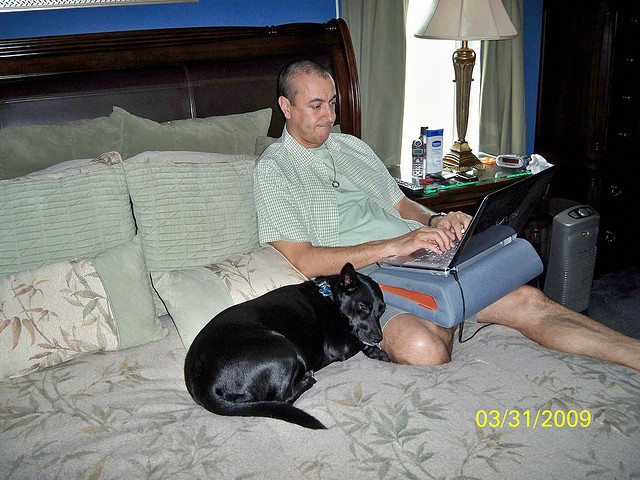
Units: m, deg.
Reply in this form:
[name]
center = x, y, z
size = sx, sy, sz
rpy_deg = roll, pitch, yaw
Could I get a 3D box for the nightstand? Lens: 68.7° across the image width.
[nightstand]
center = 0.601, -0.088, 2.033
size = 0.577, 0.351, 0.524
rpy_deg = -23, 26, -37

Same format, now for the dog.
[dog]
center = -0.082, 0.370, 1.749
size = 0.678, 0.282, 0.487
rpy_deg = -10, 18, -34

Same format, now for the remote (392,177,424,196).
[remote]
center = 0.534, -0.310, 2.834
size = 0.089, 0.060, 0.198
rpy_deg = -10, 30, -21

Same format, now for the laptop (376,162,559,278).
[laptop]
center = 0.639, -0.108, 2.001
size = 0.572, 0.347, 0.537
rpy_deg = -21, 25, -35

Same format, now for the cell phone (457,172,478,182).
[cell phone]
center = 0.896, -0.395, 2.900
size = 0.080, 0.038, 0.125
rpy_deg = -6, 15, -14
